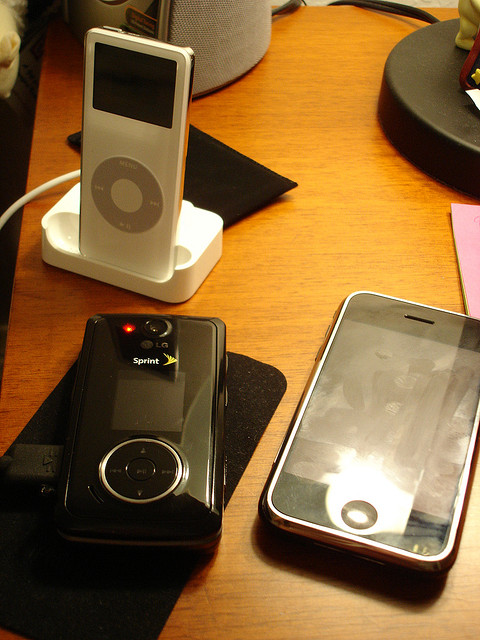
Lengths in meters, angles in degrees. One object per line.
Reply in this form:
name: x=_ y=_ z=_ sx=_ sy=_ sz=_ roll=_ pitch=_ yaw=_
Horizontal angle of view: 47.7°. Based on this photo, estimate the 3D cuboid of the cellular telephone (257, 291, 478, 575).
cellular telephone: x=0.075 y=0.067 z=0.309 sx=0.109 sy=0.005 sz=0.176 roll=22 pitch=51 yaw=11

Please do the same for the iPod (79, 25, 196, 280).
iPod: x=-0.071 y=-0.108 z=0.371 sx=0.075 sy=0.157 sz=0.019 roll=16 pitch=29 yaw=12

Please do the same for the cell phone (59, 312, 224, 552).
cell phone: x=-0.051 y=0.056 z=0.305 sx=0.085 sy=0.034 sz=0.142 roll=4 pitch=45 yaw=-5
